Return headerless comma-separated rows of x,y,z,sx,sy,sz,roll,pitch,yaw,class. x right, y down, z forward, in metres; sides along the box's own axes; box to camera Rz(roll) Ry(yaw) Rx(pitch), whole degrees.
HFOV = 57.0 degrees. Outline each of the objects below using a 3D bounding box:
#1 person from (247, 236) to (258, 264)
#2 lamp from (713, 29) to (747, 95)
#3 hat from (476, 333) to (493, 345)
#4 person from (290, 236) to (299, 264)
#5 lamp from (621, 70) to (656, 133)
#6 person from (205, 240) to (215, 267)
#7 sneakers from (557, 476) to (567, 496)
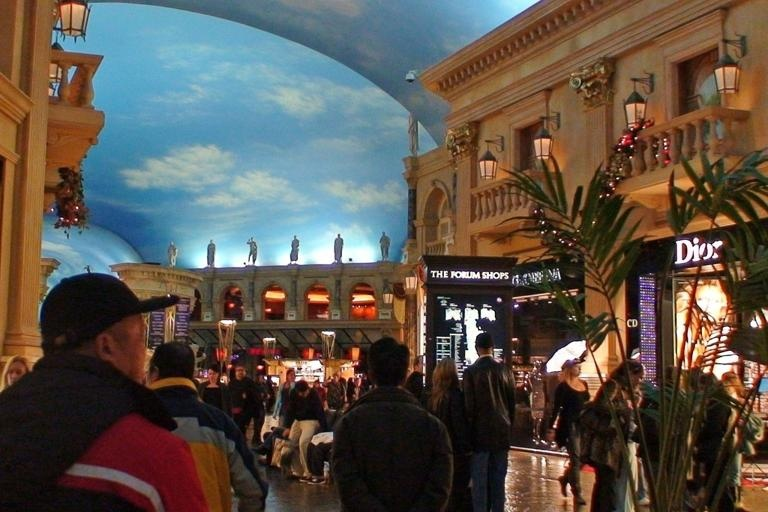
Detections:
-10.326,-0.458,55.392,0.774,2.236,1.171,1,-11,-9,person
6.513,-3.672,13.295,0.702,1.229,0.458,10,-15,-43,lamp
1.210,0.999,8.465,0.140,0.176,0.178,3,8,4,hat
-6.667,-0.512,53.010,0.689,2.316,1.545,1,-11,-8,person
5.397,-3.265,14.955,0.522,1.429,0.726,-11,-15,43,lamp
-13.623,-0.234,55.642,0.646,2.174,0.992,2,-11,-14,person
2.671,3.441,10.552,0.124,0.427,0.098,1,-1,-44,sneakers
